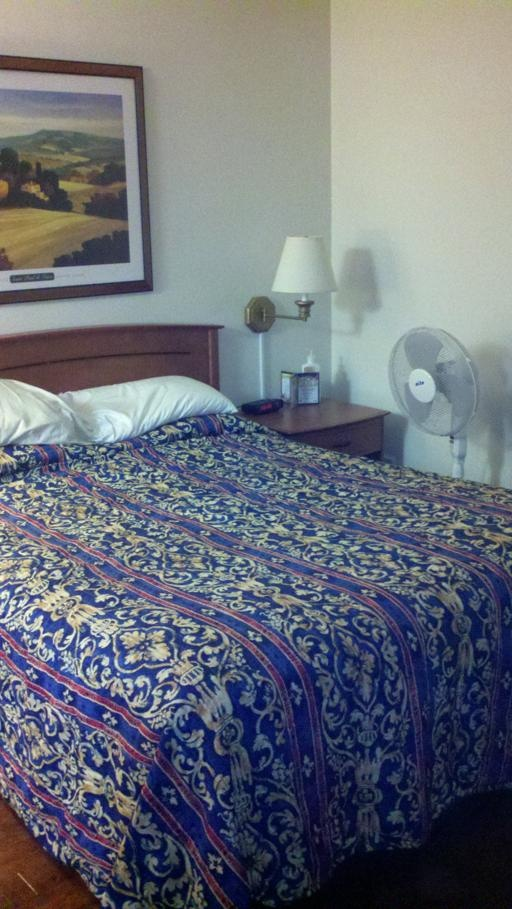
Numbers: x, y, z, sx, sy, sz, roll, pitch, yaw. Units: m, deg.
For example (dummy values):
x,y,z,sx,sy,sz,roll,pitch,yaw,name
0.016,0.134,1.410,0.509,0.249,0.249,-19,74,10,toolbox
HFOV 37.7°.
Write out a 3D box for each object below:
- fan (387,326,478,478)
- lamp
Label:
x,y,z,sx,sy,sz,roll,pitch,yaw,name
0.735,-0.304,3.154,0.153,0.446,0.438,-5,11,-32,fan
0.134,-0.876,3.854,0.344,0.573,0.538,-11,18,-34,lamp
